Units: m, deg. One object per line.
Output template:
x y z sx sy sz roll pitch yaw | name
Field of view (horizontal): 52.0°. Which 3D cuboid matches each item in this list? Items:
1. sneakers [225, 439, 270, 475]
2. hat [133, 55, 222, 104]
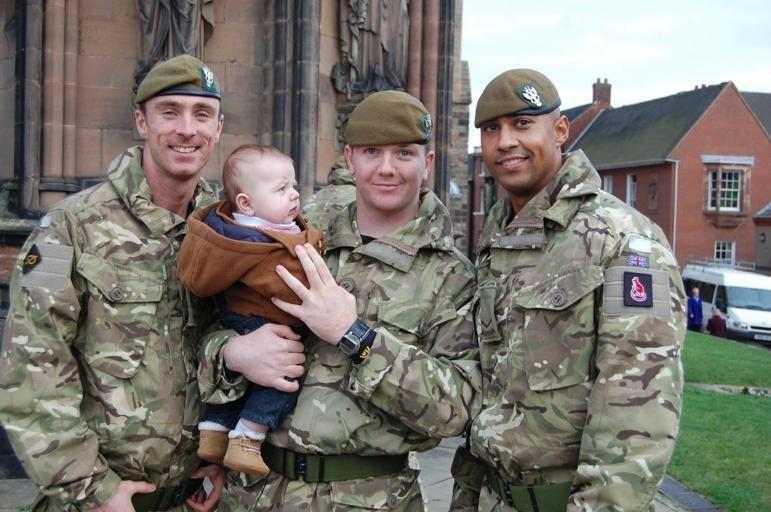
-0.856 1.217 4.901 0.291 0.205 0.177 16 -14 0 | sneakers
-1.389 -1.122 5.143 0.402 0.218 0.362 -3 1 29 | hat
